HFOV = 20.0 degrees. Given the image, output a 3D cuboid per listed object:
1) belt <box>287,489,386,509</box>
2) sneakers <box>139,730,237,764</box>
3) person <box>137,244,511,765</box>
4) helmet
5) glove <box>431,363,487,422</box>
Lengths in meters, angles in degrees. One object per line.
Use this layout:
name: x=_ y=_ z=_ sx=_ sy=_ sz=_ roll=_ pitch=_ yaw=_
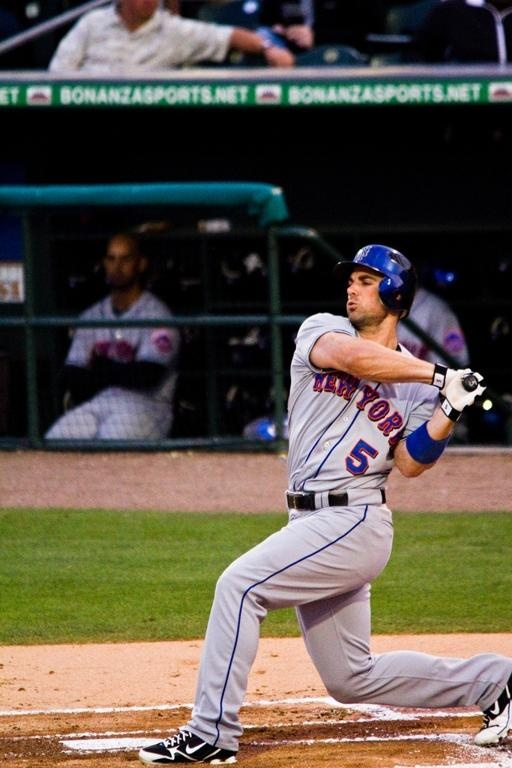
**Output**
belt: x=0.247 y=0.360 z=4.536 sx=0.303 sy=0.082 sz=0.112 roll=-1 pitch=9 yaw=7
sneakers: x=-0.211 y=1.114 z=4.404 sx=0.309 sy=0.127 sz=0.113 roll=7 pitch=-7 yaw=1
person: x=0.249 y=0.392 z=4.581 sx=1.087 sy=1.617 sz=0.596 roll=-3 pitch=10 yaw=-4
helmet: x=0.373 y=-0.329 z=4.713 sx=0.251 sy=0.214 sz=0.186 roll=15 pitch=-2 yaw=2
glove: x=0.622 y=0.014 z=4.411 sx=0.132 sy=0.183 sz=0.072 roll=10 pitch=6 yaw=12
